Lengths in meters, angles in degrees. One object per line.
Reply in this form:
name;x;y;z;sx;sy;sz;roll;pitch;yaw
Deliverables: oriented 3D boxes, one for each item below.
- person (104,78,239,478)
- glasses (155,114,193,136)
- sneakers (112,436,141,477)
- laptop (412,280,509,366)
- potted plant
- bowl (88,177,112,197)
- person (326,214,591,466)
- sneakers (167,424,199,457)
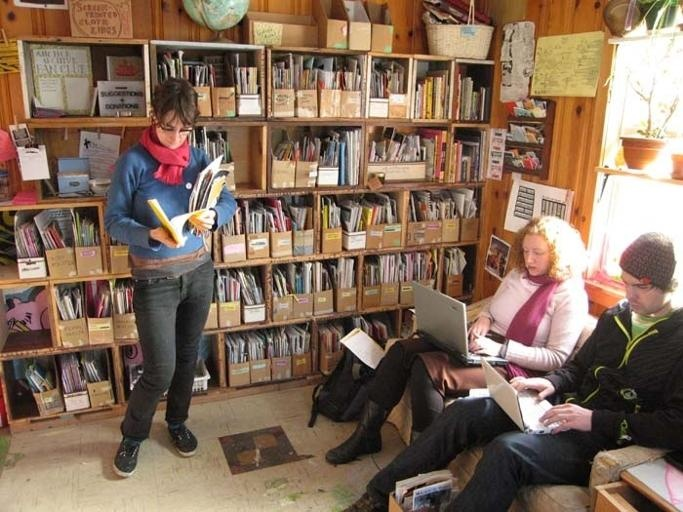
person;-0.934;0.149;2.658;0.730;2.067;0.496;-2;18;-4
glasses;-0.808;-0.622;2.397;0.095;0.051;0.127;4;2;-32
sneakers;-1.186;1.111;2.753;0.094;0.098;0.239;13;39;-27
laptop;0.689;0.325;2.796;0.439;0.328;0.523;-15;17;-32
potted plant;1.665;-0.716;2.688;0.248;0.483;0.460;8;20;27
bowl;-1.448;-0.414;2.986;0.158;0.090;0.197;-5;19;-28
person;0.649;0.466;2.811;1.551;1.153;0.675;-10;15;-20
sneakers;-0.944;1.062;2.975;0.126;0.115;0.308;-12;21;-33
